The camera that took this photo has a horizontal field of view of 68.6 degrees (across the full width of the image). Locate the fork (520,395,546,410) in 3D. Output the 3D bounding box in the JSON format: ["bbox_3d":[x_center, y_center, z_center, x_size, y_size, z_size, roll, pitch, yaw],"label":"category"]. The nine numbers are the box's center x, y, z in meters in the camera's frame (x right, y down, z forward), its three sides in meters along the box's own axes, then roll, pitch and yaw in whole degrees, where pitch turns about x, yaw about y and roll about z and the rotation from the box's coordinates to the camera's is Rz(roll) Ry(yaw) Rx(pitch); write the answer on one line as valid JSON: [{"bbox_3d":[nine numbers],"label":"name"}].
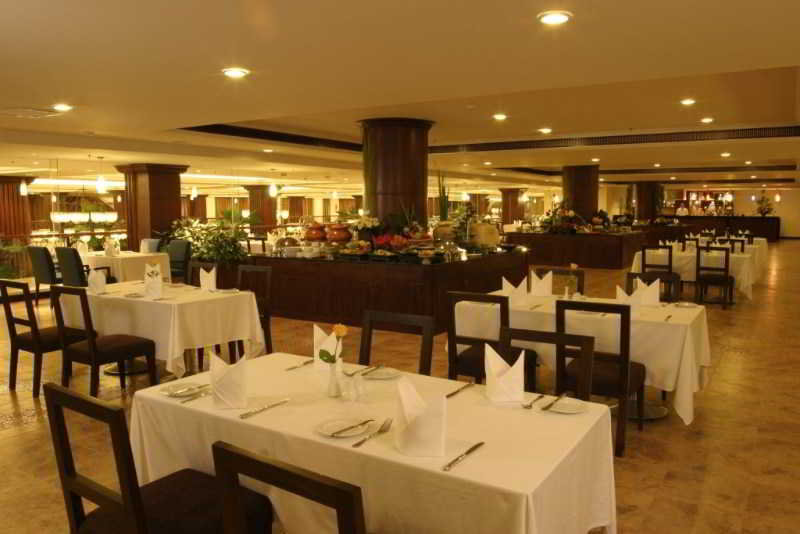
[{"bbox_3d":[0.812,0.822,3.577,0.053,0.040,0.269,2,-1,28],"label":"fork"}]

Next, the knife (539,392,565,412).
[{"bbox_3d":[0.964,0.829,3.635,0.062,0.042,0.463,5,5,25],"label":"knife"}]

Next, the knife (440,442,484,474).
[{"bbox_3d":[0.336,0.987,3.076,0.075,0.043,0.383,9,16,37],"label":"knife"}]

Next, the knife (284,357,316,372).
[{"bbox_3d":[-0.703,0.702,4.164,0.060,0.018,0.324,8,7,16],"label":"knife"}]

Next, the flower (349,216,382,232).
[{"bbox_3d":[-0.520,-0.643,8.861,0.529,0.190,0.279,1,11,11],"label":"flower"}]

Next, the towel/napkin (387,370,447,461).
[{"bbox_3d":[0.112,0.824,3.187,0.258,0.379,0.374,-1,-4,3],"label":"towel/napkin"}]

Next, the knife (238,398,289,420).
[{"bbox_3d":[-0.801,0.829,3.543,0.077,0.039,0.473,5,7,27],"label":"knife"}]

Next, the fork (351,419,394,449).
[{"bbox_3d":[-0.132,0.921,3.279,0.069,0.075,0.423,10,6,25],"label":"fork"}]
